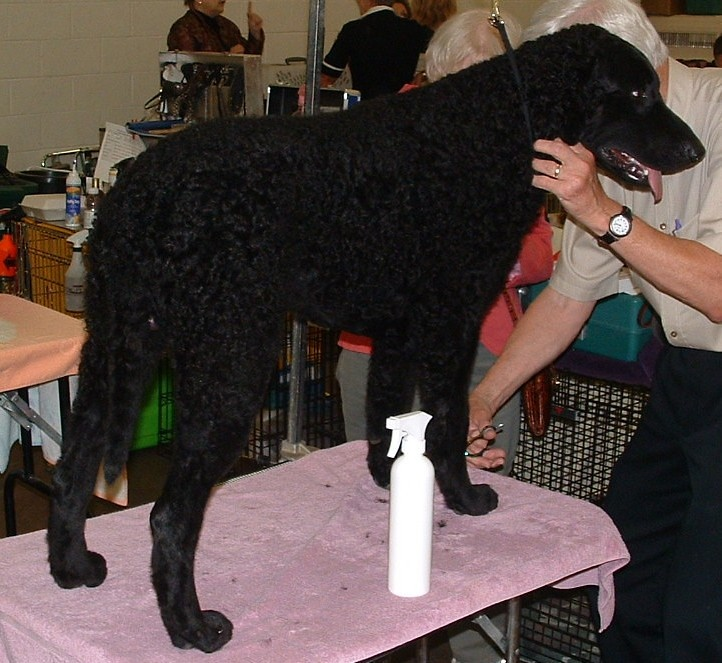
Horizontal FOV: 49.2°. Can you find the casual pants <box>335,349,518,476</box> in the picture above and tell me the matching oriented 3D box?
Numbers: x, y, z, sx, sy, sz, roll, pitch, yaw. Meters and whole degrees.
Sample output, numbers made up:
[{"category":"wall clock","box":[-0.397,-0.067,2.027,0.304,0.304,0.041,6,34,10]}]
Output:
[{"category":"casual pants","box":[0.190,0.215,2.449,0.416,0.303,0.343,1,-17,19]}]

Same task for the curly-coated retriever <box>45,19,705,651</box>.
[{"category":"curly-coated retriever","box":[0.055,-0.060,1.437,1.295,0.755,0.407,-22,33,-30]}]
